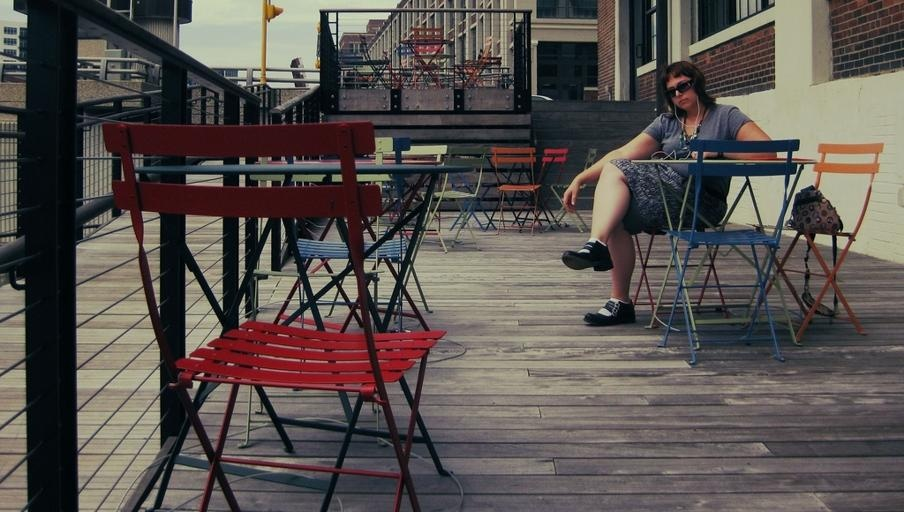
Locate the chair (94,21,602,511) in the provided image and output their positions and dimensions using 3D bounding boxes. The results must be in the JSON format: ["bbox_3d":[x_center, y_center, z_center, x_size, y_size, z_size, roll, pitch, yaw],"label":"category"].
[{"bbox_3d":[-0.832,0.254,5.172,1.661,2.033,1.417,1,13,-3],"label":"chair"}]

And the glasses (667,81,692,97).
[{"bbox_3d":[1.626,-1.212,6.803,0.115,0.034,0.113,-37,10,-27],"label":"glasses"}]

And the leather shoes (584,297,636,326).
[{"bbox_3d":[1.183,0.424,6.996,0.444,0.166,0.153,-1,7,-7],"label":"leather shoes"}]
